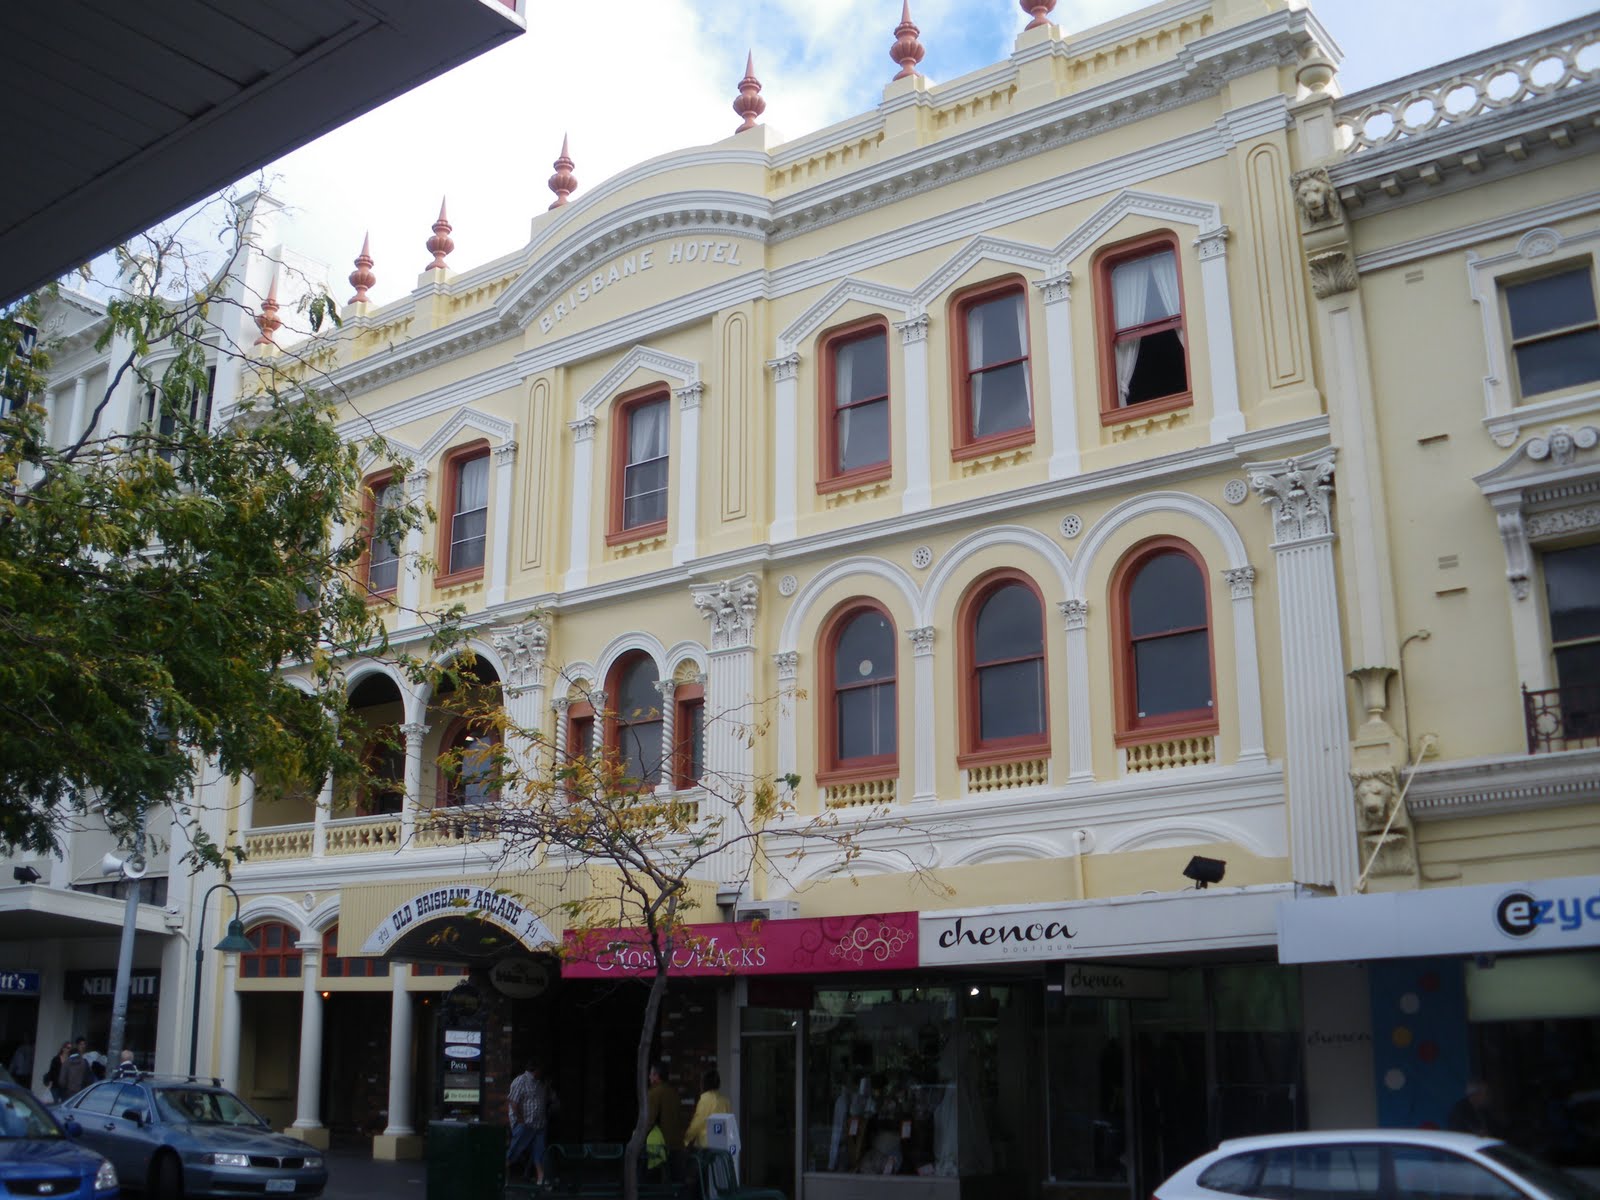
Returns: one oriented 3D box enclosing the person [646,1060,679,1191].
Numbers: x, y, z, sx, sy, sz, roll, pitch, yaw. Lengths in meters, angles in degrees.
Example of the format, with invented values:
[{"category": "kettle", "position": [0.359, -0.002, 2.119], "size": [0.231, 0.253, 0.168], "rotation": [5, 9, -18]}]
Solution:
[{"category": "person", "position": [-1.894, 7.311, 23.380], "size": [0.428, 1.490, 1.281], "rotation": [1, -19, -4]}]
